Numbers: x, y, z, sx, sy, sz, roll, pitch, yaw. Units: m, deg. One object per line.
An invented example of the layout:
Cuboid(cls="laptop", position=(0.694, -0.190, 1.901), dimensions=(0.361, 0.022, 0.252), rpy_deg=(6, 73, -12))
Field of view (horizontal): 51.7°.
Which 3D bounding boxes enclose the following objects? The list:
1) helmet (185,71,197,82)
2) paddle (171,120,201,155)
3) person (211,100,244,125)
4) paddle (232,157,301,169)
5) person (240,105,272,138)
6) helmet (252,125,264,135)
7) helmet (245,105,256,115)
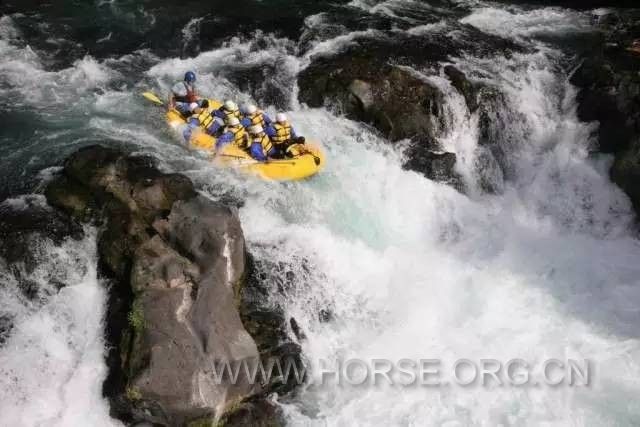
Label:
Cuboid(cls="helmet", position=(-5.923, -6.258, 30.346), dimensions=(0.572, 0.457, 0.444), rpy_deg=(-3, 44, 7))
Cuboid(cls="paddle", position=(-5.954, -3.507, 28.849), dimensions=(1.544, 0.905, 0.278), rpy_deg=(44, 33, 20))
Cuboid(cls="person", position=(-4.125, -4.516, 29.262), dimensions=(1.205, 0.519, 0.975), rpy_deg=(34, 61, 23))
Cuboid(cls="paddle", position=(-2.369, -2.170, 28.404), dimensions=(2.391, 0.334, 0.351), rpy_deg=(3, 82, 2))
Cuboid(cls="person", position=(-2.869, -4.181, 29.100), dimensions=(1.166, 0.498, 1.300), rpy_deg=(-37, 71, -22))
Cuboid(cls="helmet", position=(-2.660, -3.634, 28.535), dimensions=(0.438, 0.333, 0.334), rpy_deg=(8, 51, 37))
Cuboid(cls="helmet", position=(-3.022, -4.561, 29.249), dimensions=(0.330, 0.278, 0.425), rpy_deg=(-36, 47, -23))
